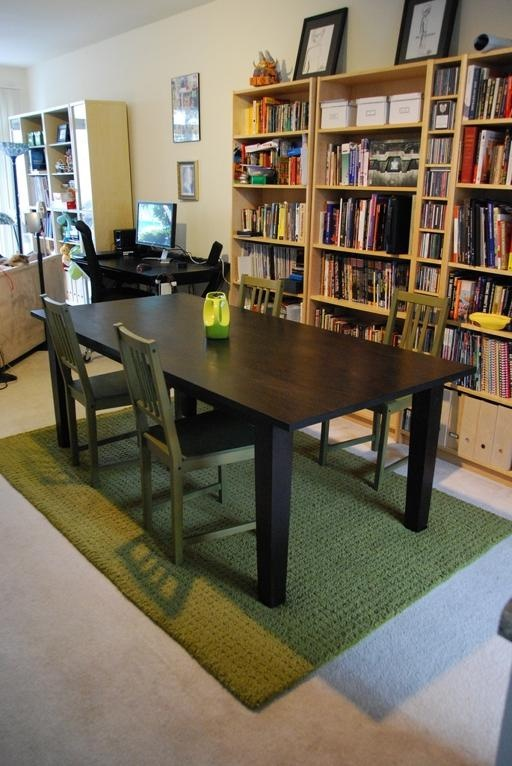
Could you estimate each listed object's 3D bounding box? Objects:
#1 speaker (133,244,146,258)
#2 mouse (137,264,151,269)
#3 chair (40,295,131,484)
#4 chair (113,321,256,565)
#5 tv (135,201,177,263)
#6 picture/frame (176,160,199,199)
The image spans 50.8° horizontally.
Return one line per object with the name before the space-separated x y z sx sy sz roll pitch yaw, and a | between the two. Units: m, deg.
speaker | -1.140 -1.297 5.262 0.143 0.040 0.161 -18 50 -26
mouse | -0.915 -0.951 4.384 0.063 0.031 0.087 -13 28 -28
chair | -0.692 0.014 2.544 0.487 0.860 0.421 -11 18 -38
chair | -0.222 0.202 1.925 0.446 0.793 0.432 -9 17 -32
tv | -0.891 -1.384 4.836 0.475 0.466 0.131 16 17 36
picture/frame | -0.602 -1.813 4.763 0.025 0.333 0.309 -11 22 -35
